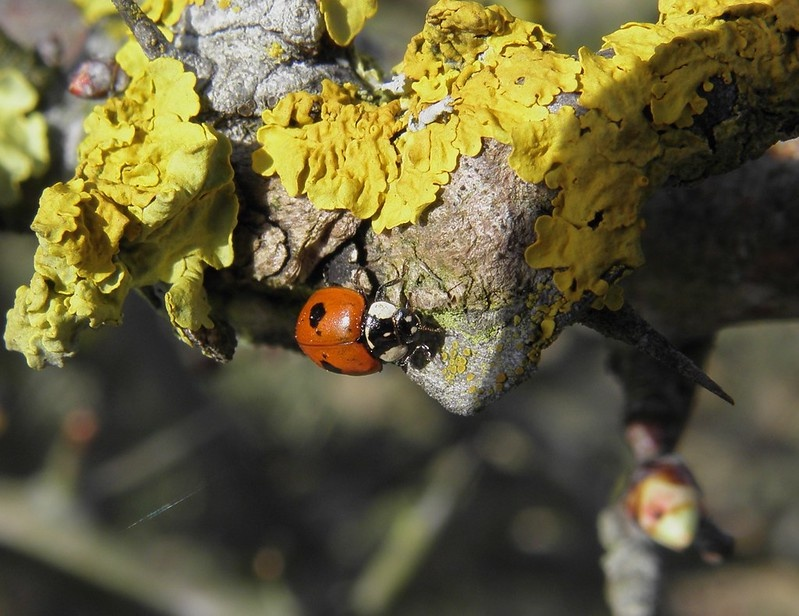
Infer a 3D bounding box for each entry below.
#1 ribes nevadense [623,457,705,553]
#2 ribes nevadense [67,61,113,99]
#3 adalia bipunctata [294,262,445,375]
[{"bbox_3d":[0.929,0.701,4.431,0.284,0.134,0.350,-19,36,14],"label":"ribes nevadense"},{"bbox_3d":[-1.103,-0.832,4.540,0.155,0.087,0.123,26,102,-6],"label":"ribes nevadense"},{"bbox_3d":[-0.087,0.054,4.234,0.479,0.279,0.239,2,60,-7],"label":"adalia bipunctata"}]
